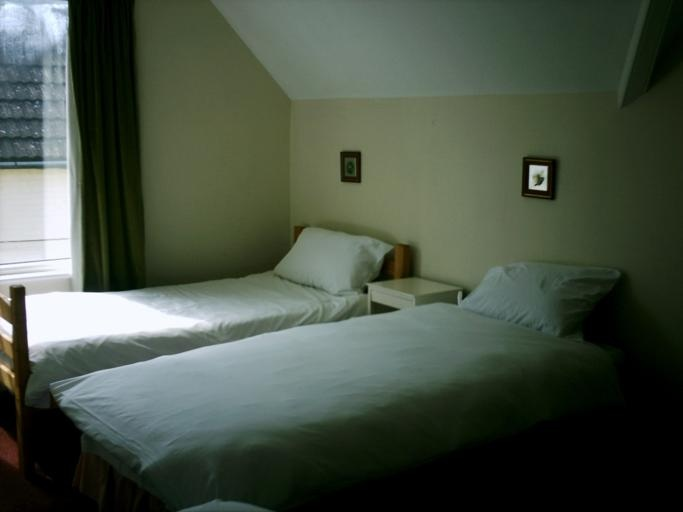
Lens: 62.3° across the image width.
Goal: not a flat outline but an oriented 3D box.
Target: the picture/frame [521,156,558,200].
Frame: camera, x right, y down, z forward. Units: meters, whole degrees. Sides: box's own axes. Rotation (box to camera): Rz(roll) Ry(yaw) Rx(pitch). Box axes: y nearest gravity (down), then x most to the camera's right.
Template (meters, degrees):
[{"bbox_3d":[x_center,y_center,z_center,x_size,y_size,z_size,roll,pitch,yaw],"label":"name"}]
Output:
[{"bbox_3d":[1.222,-0.483,3.468,0.037,0.289,0.227,-14,18,-42],"label":"picture/frame"}]

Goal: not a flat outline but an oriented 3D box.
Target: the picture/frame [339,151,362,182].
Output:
[{"bbox_3d":[0.078,-0.736,4.622,0.027,0.279,0.221,-9,14,-40],"label":"picture/frame"}]

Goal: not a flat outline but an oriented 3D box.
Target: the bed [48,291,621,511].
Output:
[{"bbox_3d":[0.141,0.629,2.593,1.829,0.340,1.090,-10,16,-36],"label":"bed"}]
